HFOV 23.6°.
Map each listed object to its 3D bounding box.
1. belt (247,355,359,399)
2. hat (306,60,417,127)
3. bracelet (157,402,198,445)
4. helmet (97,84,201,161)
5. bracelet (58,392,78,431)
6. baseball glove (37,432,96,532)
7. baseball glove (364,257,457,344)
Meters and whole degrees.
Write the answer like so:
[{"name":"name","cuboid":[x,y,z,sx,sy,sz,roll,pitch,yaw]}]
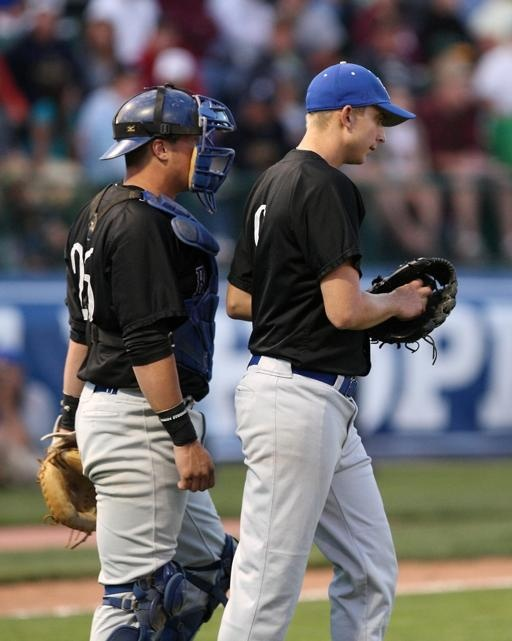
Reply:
[{"name":"belt","cuboid":[0.207,0.199,4.219,0.244,0.054,0.187,18,-5,5]},{"name":"hat","cuboid":[0.387,-0.814,4.391,0.431,0.202,0.250,2,3,3]},{"name":"bracelet","cuboid":[-0.272,0.361,4.207,0.095,0.133,0.114,-23,-5,30]},{"name":"helmet","cuboid":[-0.377,-0.737,4.483,0.435,0.237,0.334,-9,14,-14]},{"name":"bracelet","cuboid":[-0.734,0.359,4.750,0.068,0.120,0.179,11,15,-16]},{"name":"baseball glove","cuboid":[-0.712,0.619,4.648,0.121,0.352,0.282,-18,-9,-6]},{"name":"baseball glove","cuboid":[0.603,-0.051,4.594,0.359,0.263,0.160,-43,-13,7]}]
